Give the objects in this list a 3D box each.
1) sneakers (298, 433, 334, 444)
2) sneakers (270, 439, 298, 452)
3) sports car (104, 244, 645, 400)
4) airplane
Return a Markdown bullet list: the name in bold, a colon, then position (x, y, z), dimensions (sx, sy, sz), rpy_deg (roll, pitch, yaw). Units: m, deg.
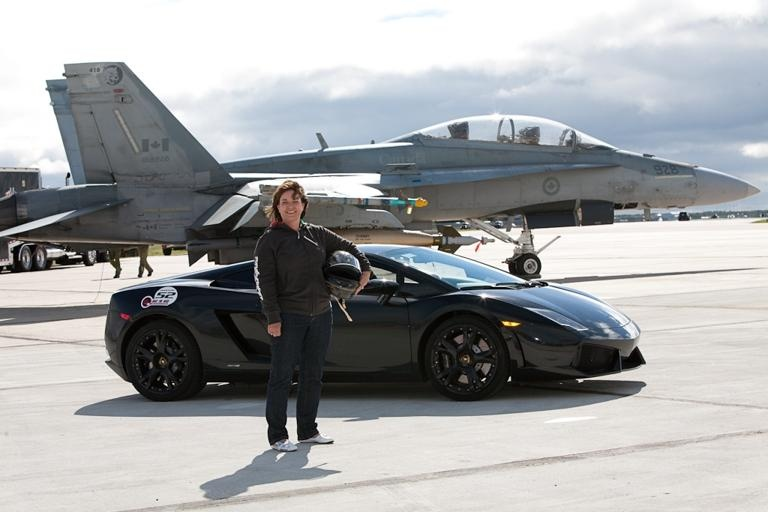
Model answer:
- **sneakers**: position (-0.674, 1.689, 6.167), dimensions (0.387, 0.081, 0.103), rpy_deg (-3, -1, 4)
- **sneakers**: position (-0.942, 1.697, 5.991), dimensions (0.300, 0.065, 0.091), rpy_deg (-1, 7, 16)
- **sports car**: position (-0.420, 0.698, 7.926), dimensions (5.888, 0.847, 2.360), rpy_deg (-1, 0, 3)
- **airplane**: position (0.002, -2.216, 20.420), dimensions (18.355, 2.987, 10.125), rpy_deg (-1, 5, -13)
